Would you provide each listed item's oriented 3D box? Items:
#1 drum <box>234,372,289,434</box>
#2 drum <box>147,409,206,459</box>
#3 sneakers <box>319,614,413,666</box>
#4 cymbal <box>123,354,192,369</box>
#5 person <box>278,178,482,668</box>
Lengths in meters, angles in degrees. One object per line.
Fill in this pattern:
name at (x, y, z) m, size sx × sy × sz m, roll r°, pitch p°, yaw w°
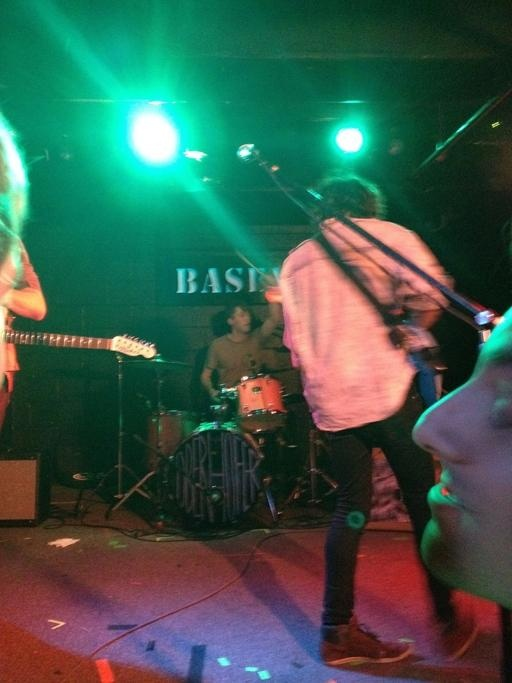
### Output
drum at (-0.010, 0.378, 4.000) m, size 0.403 × 0.285 × 0.356 m, roll 1°, pitch -14°, yaw -23°
drum at (-0.555, 0.640, 4.470) m, size 0.379 × 0.324 × 0.357 m, roll 11°, pitch -17°, yaw -33°
sneakers at (0.341, 1.019, 2.254) m, size 0.442 × 0.152 × 0.124 m, roll -2°, pitch -15°, yaw -9°
cymbal at (-0.690, 0.149, 4.509) m, size 0.248 × 0.041 × 0.231 m, roll 5°, pitch -8°, yaw 4°
person at (0.351, 0.279, 2.268) m, size 0.618 × 1.459 × 0.548 m, roll -13°, pitch -17°, yaw 23°
